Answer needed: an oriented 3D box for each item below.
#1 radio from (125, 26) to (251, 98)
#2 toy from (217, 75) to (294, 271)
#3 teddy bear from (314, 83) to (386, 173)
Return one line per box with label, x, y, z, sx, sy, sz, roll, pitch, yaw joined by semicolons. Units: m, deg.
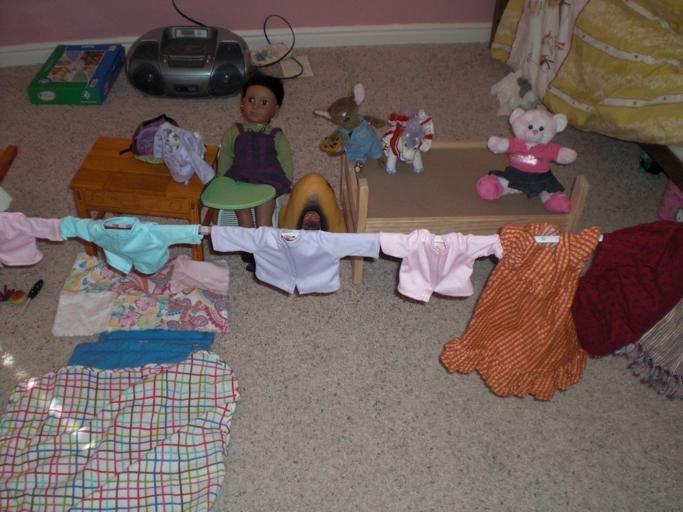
radio;-1.062;-1.355;4.212;0.813;0.329;0.368;0;50;-3
toy;-0.472;-0.477;3.254;0.369;0.970;0.261;4;24;-5
teddy bear;0.056;-0.644;3.061;0.340;0.451;0.228;7;50;3
